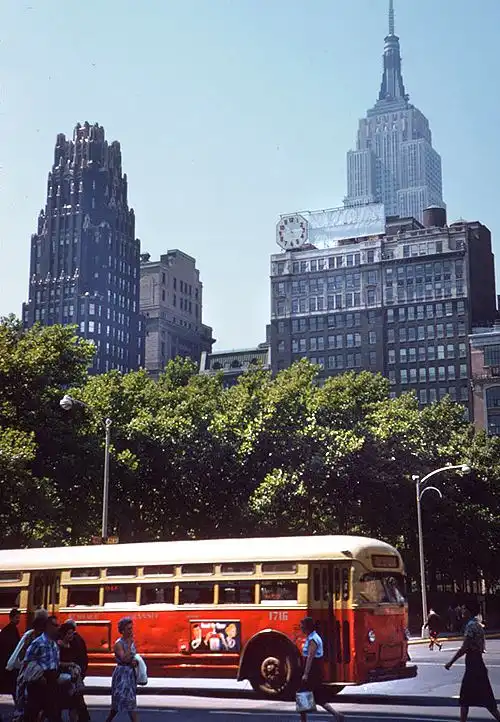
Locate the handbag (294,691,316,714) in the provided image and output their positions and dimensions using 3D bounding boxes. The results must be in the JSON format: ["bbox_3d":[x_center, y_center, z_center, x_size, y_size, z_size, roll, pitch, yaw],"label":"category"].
[{"bbox_3d":[0.681,4.183,9.430,0.207,0.261,0.283,-5,-1,-4],"label":"handbag"}]
